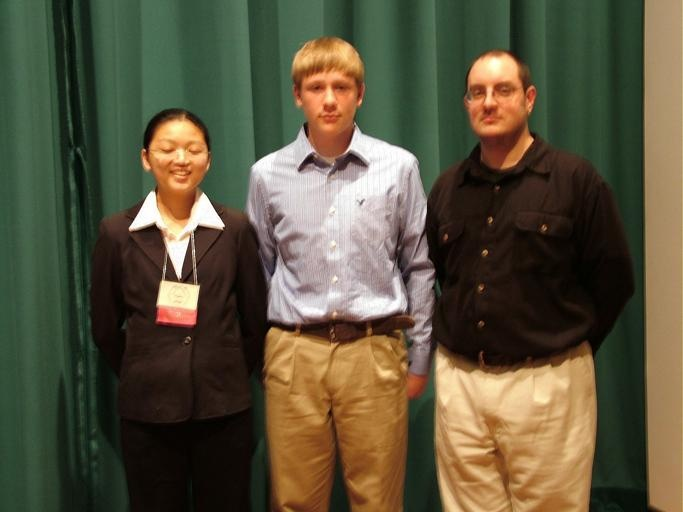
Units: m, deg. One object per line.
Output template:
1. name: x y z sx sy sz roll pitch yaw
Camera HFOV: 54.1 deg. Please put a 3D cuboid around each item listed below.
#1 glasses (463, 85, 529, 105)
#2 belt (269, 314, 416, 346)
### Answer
1. glasses: 0.566 -0.590 2.437 0.225 0.057 0.085 -5 1 11
2. belt: -0.009 0.281 2.530 0.462 0.094 0.072 -2 27 -6
